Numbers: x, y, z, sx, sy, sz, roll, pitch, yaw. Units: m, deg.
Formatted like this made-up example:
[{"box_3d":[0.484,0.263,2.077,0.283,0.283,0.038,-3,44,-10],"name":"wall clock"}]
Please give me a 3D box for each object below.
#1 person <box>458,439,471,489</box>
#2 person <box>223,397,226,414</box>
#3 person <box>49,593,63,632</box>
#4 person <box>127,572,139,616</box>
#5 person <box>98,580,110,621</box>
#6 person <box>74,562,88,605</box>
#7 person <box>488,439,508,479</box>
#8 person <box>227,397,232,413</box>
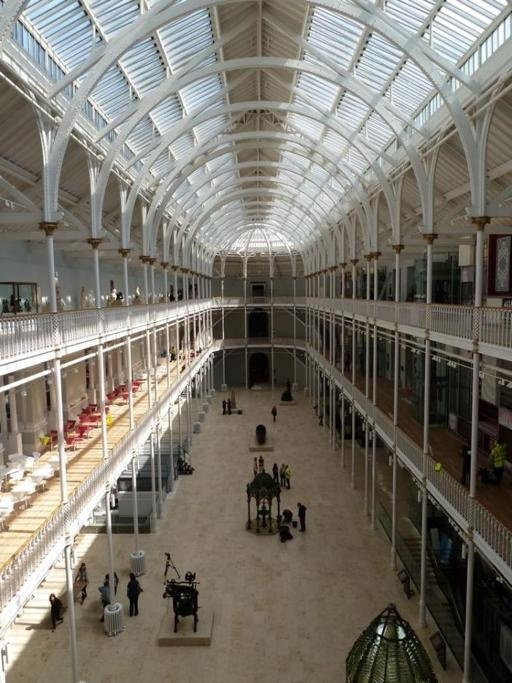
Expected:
[{"box_3d":[4.644,2.675,11.019,0.160,0.775,1.313,1,3,22],"name":"person"},{"box_3d":[-2.529,5.067,38.491,0.280,0.916,1.223,0,3,-6],"name":"person"},{"box_3d":[-4.957,6.537,12.275,0.280,0.991,0.592,-1,3,-21],"name":"person"},{"box_3d":[-3.213,6.535,12.940,0.328,1.057,0.320,2,5,-2],"name":"person"},{"box_3d":[-3.929,6.594,12.791,0.235,1.065,1.492,-1,3,-19],"name":"person"},{"box_3d":[-4.817,6.588,13.624,0.311,1.078,0.272,3,0,-10],"name":"person"},{"box_3d":[5.743,2.720,11.753,0.296,1.080,1.757,2,3,26],"name":"person"},{"box_3d":[-2.111,5.037,38.801,0.352,0.902,1.465,0,3,-5],"name":"person"}]
